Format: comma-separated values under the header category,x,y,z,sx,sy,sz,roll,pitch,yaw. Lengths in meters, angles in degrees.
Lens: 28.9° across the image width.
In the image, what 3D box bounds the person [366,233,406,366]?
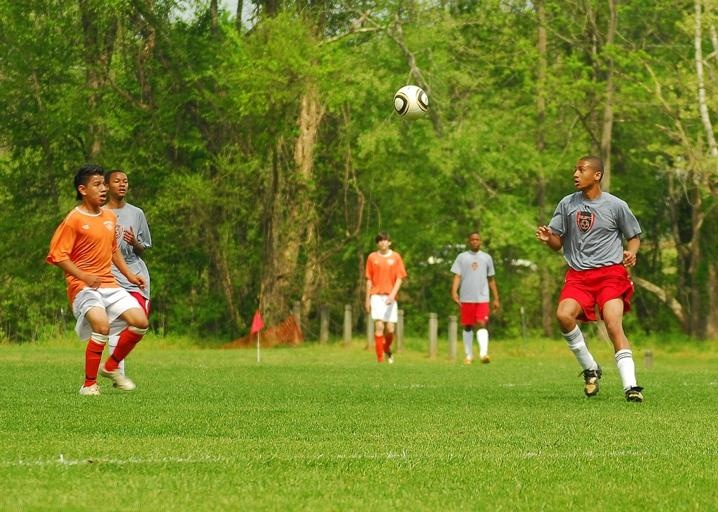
category,x,y,z,sx,sy,sz,roll,pitch,yaw
person,0.513,0.828,26.296,0.727,2.440,0.692,0,13,1

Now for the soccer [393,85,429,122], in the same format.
category,x,y,z,sx,sy,sz,roll,pitch,yaw
soccer,1.049,-2.983,27.314,0.667,0.630,0.640,5,-30,-14

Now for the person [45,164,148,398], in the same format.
category,x,y,z,sx,sy,sz,roll,pitch,yaw
person,-3.969,0.404,21.158,1.083,3.359,0.875,8,15,29

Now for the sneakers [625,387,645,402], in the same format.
category,x,y,z,sx,sy,sz,roll,pitch,yaw
sneakers,4.170,2.079,20.989,0.266,0.208,0.256,3,13,10

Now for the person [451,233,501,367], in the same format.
category,x,y,z,sx,sy,sz,roll,pitch,yaw
person,2.255,0.886,26.961,0.901,2.647,1.354,1,13,3

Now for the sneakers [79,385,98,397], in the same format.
category,x,y,z,sx,sy,sz,roll,pitch,yaw
sneakers,-4.130,2.063,21.311,0.126,0.128,0.333,6,-12,-41
